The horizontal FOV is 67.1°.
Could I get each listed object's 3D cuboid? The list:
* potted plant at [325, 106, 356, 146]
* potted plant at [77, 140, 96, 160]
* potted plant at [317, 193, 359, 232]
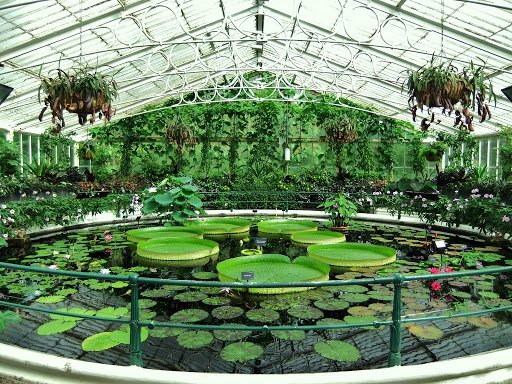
[{"bbox_3d":[3.246,-2.532,15.213,1.631,1.011,1.856,0,3,2],"label":"potted plant"},{"bbox_3d":[-6.732,-1.642,15.064,0.657,0.706,0.490,1,1,-4],"label":"potted plant"},{"bbox_3d":[2.208,0.492,10.010,1.211,0.800,1.091,0,-1,-15],"label":"potted plant"}]
